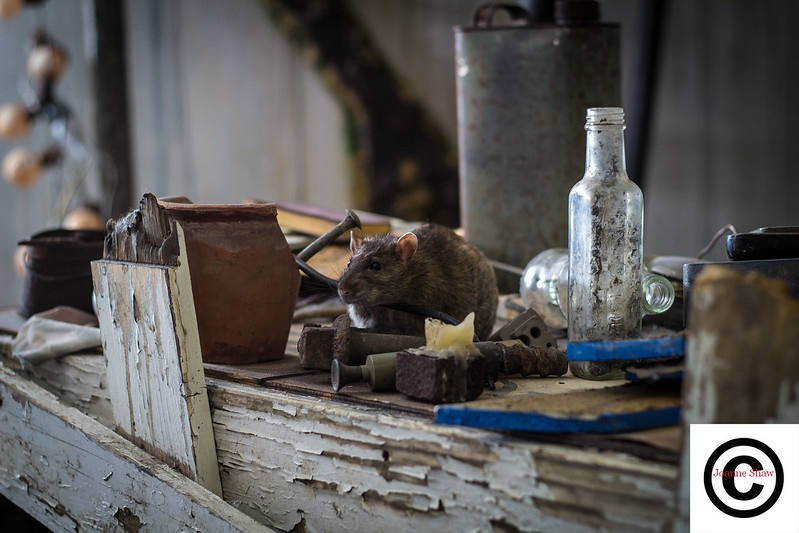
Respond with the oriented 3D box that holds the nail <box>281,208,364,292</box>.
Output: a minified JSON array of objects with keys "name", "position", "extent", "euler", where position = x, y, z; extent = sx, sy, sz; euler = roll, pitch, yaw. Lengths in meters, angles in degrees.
[{"name":"nail","position":[-0.259,-0.072,2.725],"extent":[0.259,0.082,0.250],"euler":[-39,3,-20]}]

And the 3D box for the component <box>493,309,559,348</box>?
[{"name":"component","position":[0.392,0.170,2.462],"extent":[0.184,0.118,0.206],"euler":[-2,11,-32]}]

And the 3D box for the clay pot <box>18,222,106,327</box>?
[{"name":"clay pot","position":[-1.403,0.061,3.272],"extent":[0.419,0.390,0.403],"euler":[2,-3,0]}]

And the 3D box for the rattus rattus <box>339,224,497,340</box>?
[{"name":"rattus rattus","position":[0.039,0.040,2.618],"extent":[0.629,0.390,0.379],"euler":[1,2,-45]}]
